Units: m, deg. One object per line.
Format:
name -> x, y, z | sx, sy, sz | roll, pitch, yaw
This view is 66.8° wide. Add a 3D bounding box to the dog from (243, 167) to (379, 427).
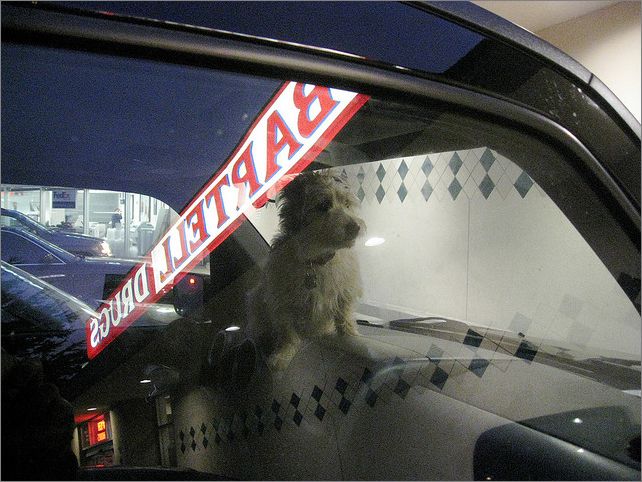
dog -> -0.031, 0.042, 0.801 | 0.168, 0.318, 0.287 | -5, 9, -33
